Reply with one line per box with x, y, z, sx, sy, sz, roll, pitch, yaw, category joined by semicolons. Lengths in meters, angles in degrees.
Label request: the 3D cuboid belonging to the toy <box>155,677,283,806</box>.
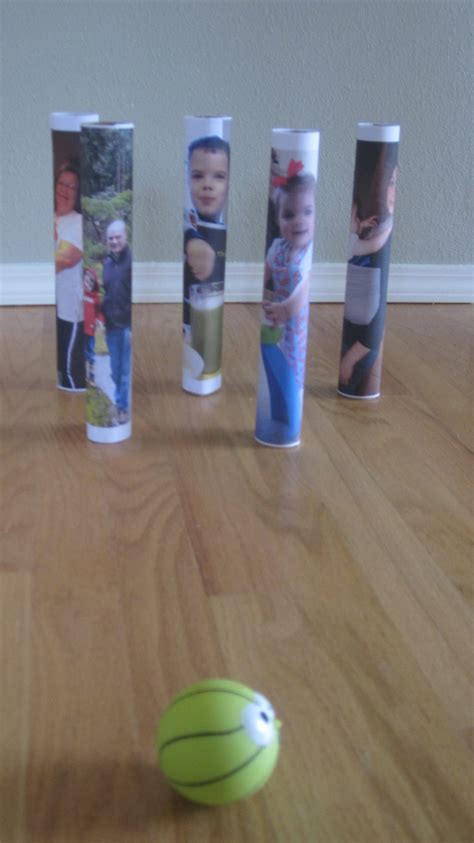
-0.014;0.230;0.507;0.072;0.096;0.083;-2;50;-32;toy
